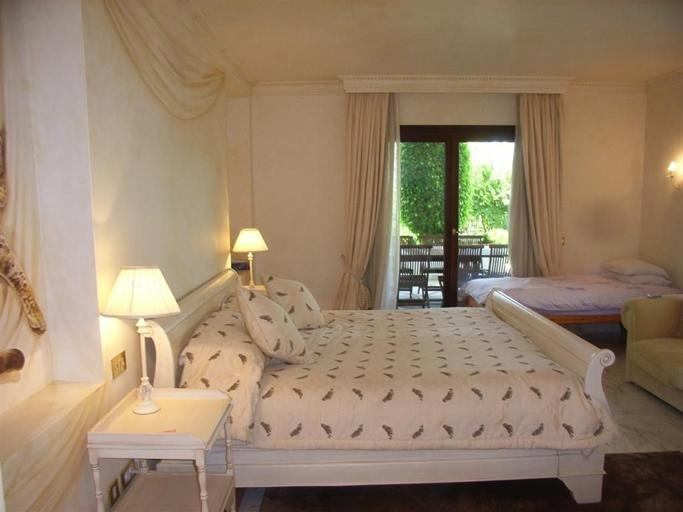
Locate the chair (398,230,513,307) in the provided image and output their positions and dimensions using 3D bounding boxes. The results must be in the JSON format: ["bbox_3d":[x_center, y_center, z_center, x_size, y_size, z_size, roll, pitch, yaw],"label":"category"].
[{"bbox_3d":[1.197,0.133,6.404,0.920,0.575,0.955,0,1,0],"label":"chair"}]

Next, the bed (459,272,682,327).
[{"bbox_3d":[2.390,0.372,5.365,1.385,0.408,0.872,-4,7,-9],"label":"bed"}]

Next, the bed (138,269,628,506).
[{"bbox_3d":[0.365,0.880,3.379,1.867,0.877,1.726,-2,7,-5],"label":"bed"}]

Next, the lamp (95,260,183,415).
[{"bbox_3d":[-1.034,0.427,2.773,0.390,0.755,0.280,-1,8,-9],"label":"lamp"}]
